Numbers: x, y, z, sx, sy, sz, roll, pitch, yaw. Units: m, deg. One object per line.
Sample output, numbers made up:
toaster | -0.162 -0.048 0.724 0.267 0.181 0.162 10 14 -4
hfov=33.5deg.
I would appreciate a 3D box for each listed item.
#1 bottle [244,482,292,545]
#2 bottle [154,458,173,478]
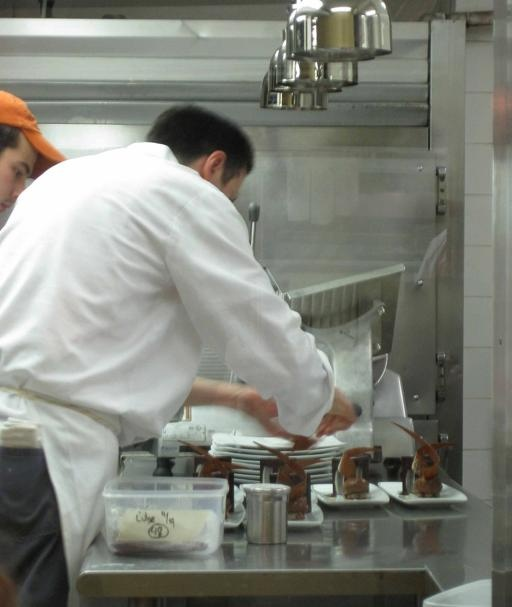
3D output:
bottle | 0.016 0.313 1.274 0.071 0.076 0.084 1 -9 -3
bottle | -0.156 0.279 1.447 0.032 0.033 0.031 7 -17 -14
